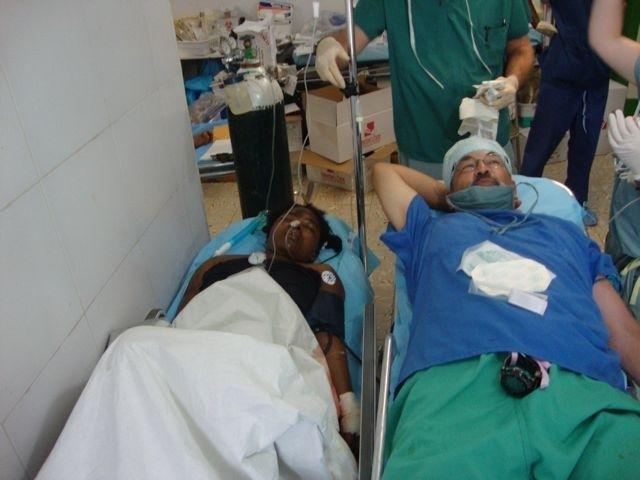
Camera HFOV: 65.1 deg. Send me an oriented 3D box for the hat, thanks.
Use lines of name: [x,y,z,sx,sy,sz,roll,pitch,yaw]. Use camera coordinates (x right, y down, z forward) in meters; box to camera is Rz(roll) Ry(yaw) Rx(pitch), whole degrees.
hat: [0.683,-0.412,2.315,0.210,0.110,0.296,-6,58,18]

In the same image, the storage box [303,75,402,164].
storage box: [0.219,-0.823,3.412,0.618,0.454,0.341,-28,44,-29]
